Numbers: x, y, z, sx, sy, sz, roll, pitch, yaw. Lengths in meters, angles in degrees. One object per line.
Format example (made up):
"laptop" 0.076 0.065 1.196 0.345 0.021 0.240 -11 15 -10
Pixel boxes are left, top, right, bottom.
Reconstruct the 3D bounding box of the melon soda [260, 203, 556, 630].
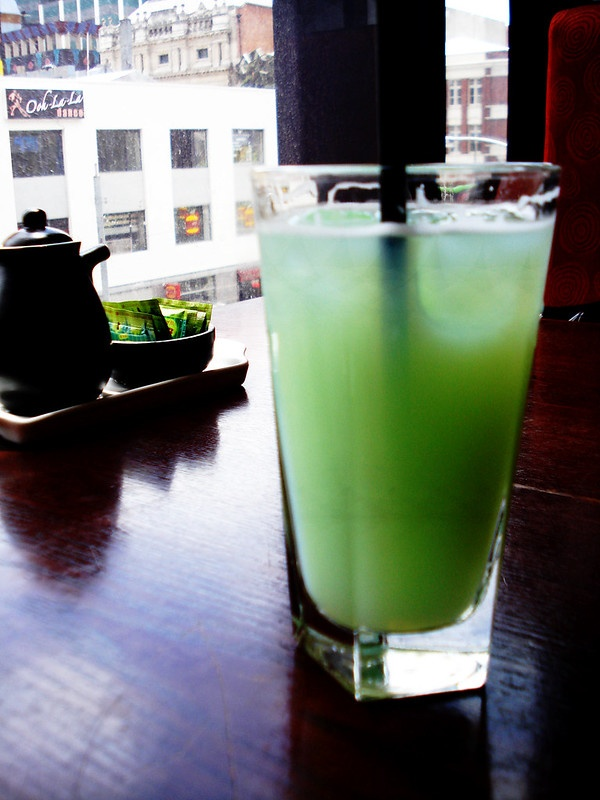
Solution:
"melon soda" 0.047 0.010 0.293 0.111 0.189 0.041 -3 13 0

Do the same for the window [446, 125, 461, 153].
"window" 0.618 -1.045 2.626 0.054 0.127 0.134 0 13 13

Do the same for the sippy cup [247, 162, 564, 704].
"sippy cup" 0.033 0.024 0.341 0.156 0.236 0.153 -7 2 0
